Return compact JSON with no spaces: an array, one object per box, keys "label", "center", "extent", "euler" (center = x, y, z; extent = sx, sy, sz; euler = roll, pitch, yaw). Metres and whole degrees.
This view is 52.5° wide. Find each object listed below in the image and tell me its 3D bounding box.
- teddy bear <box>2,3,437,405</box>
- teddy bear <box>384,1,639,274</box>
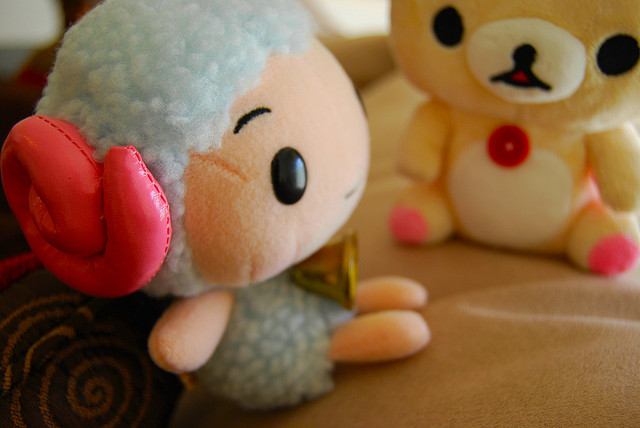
[{"label":"teddy bear","center":[-0.094,-0.026,1.094],"extent":[0.533,0.636,0.598],"euler":[5,28,10]},{"label":"teddy bear","center":[0.303,-0.114,0.980],"extent":[0.347,0.436,0.194],"euler":[3,33,22]}]
